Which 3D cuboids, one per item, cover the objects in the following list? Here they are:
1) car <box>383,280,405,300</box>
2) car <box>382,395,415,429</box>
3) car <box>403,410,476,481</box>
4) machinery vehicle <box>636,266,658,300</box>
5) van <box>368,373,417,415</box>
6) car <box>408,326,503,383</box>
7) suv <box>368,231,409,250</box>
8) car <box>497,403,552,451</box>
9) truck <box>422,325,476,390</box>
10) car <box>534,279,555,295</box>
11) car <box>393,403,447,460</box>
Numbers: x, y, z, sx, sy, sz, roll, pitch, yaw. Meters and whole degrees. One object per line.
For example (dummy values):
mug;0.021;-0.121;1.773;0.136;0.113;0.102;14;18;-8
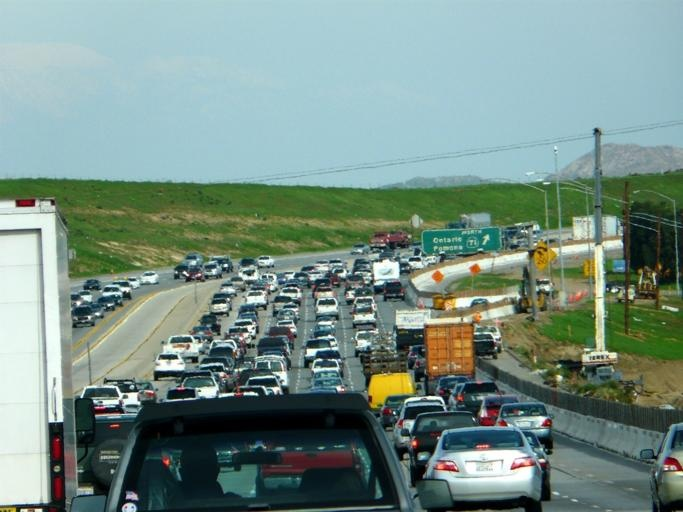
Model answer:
car;3.590;2.406;103.489;1.074;1.105;2.449;0;5;0
car;1.667;5.032;47.670;0.881;0.773;2.054;-1;6;3
car;2.329;4.786;35.877;1.286;1.296;2.721;-1;8;0
machinery vehicle;24.610;2.061;119.259;1.719;1.835;5.593;-1;9;8
van;1.674;5.046;50.156;1.514;1.610;2.886;-1;5;3
car;4.813;4.021;64.445;2.211;2.769;4.517;0;3;-1
suv;5.189;-1.557;154.328;2.858;1.863;5.747;-4;4;20
car;5.193;4.645;41.260;0.884;0.695;2.031;0;6;3
truck;4.391;5.083;64.537;2.116;3.126;4.645;1;-18;-6
car;14.142;2.164;103.510;1.041;0.818;1.610;2;15;5
car;2.344;4.642;41.917;1.256;1.356;2.908;-9;-1;7
